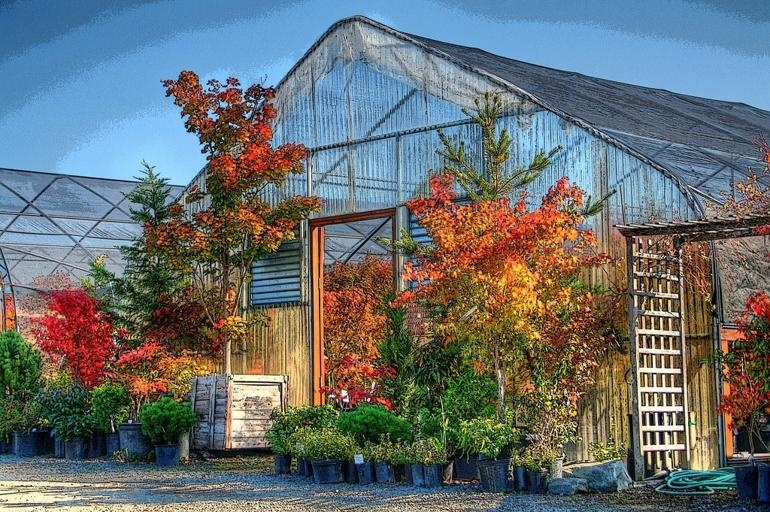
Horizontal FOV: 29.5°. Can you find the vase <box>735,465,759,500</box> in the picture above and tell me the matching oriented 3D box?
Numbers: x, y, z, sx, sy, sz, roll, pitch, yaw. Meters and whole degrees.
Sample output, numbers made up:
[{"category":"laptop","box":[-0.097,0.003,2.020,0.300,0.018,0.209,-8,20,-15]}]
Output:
[{"category":"vase","box":[7.863,4.855,31.619,0.637,0.649,0.627,-1,-12,9]}]
